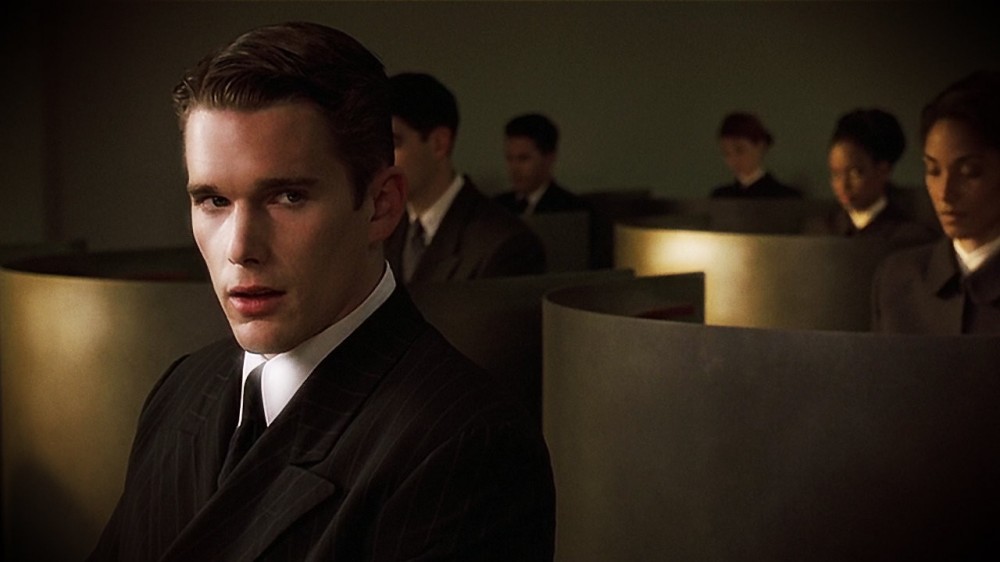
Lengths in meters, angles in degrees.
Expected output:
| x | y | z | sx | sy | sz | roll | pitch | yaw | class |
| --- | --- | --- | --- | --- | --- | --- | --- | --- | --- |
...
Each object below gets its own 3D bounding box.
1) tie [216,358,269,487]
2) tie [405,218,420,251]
| x | y | z | sx | sy | sz | roll | pitch | yaw | class |
| --- | --- | --- | --- | --- | --- | --- | --- | --- | --- |
| -0.375 | 0.205 | 1.299 | 0.042 | 0.164 | 0.094 | 11 | -5 | -25 | tie |
| -0.156 | -0.090 | 1.615 | 0.034 | 0.044 | 0.011 | 2 | 14 | 5 | tie |
